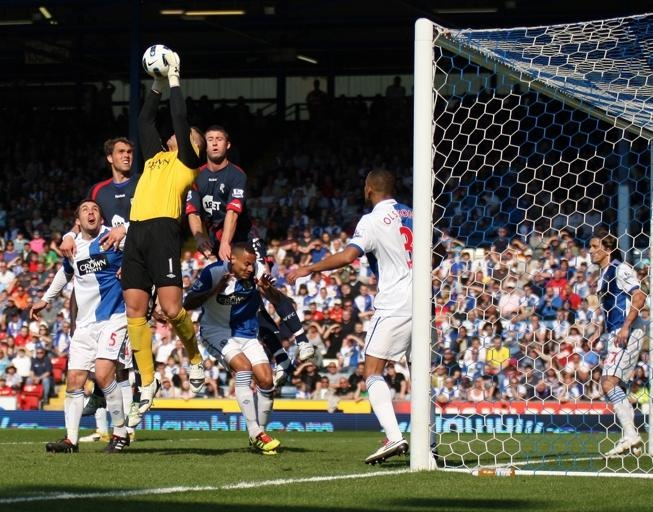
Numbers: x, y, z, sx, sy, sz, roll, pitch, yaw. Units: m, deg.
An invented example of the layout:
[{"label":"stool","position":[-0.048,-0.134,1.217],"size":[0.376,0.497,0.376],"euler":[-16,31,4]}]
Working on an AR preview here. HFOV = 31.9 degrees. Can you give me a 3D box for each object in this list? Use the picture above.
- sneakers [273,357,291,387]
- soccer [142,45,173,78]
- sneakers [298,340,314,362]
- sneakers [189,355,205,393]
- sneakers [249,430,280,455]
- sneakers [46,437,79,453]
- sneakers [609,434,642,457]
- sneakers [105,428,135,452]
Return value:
[{"label":"sneakers","position":[-0.592,1.540,14.177],"size":[0.140,0.185,0.396],"euler":[-19,-24,-35]},{"label":"soccer","position":[-1.846,-2.124,12.327],"size":[0.247,0.330,0.344],"euler":[1,35,6]},{"label":"sneakers","position":[-0.259,1.209,13.900],"size":[0.173,0.252,0.239],"euler":[1,7,-2]},{"label":"sneakers","position":[-1.424,1.335,12.539],"size":[0.136,0.452,0.179],"euler":[-3,0,-7]},{"label":"sneakers","position":[-0.696,2.109,12.629],"size":[0.171,0.213,0.436],"euler":[-4,11,-33]},{"label":"sneakers","position":[-2.907,2.139,12.536],"size":[0.358,0.196,0.148],"euler":[8,5,-22]},{"label":"sneakers","position":[3.336,2.158,12.680],"size":[0.312,0.160,0.238],"euler":[-19,9,-16]},{"label":"sneakers","position":[-2.321,2.122,12.735],"size":[0.157,0.252,0.463],"euler":[5,10,22]}]
